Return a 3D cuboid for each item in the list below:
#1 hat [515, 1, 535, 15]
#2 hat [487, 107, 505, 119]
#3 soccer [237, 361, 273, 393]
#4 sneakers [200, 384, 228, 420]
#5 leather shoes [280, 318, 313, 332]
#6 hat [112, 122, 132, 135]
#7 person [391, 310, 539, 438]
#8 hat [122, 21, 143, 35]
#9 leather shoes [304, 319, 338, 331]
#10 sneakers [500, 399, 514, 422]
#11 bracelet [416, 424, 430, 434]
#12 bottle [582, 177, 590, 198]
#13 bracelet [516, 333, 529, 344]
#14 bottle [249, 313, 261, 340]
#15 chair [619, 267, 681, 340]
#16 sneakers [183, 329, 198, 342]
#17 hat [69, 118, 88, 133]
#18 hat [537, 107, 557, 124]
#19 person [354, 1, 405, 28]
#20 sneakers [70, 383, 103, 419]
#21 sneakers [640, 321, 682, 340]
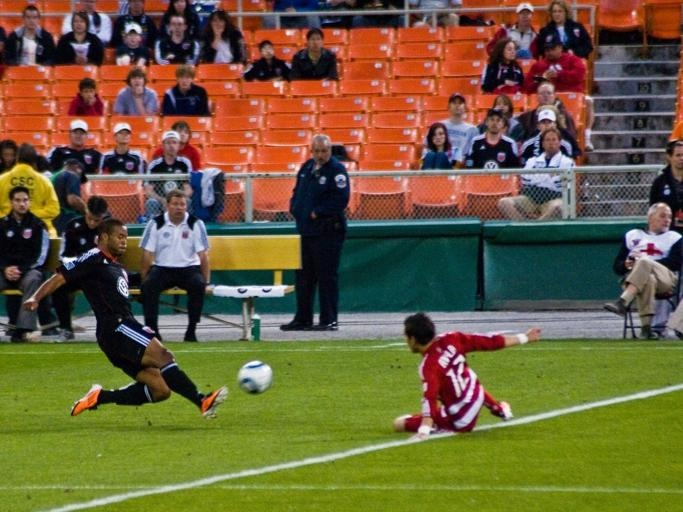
[{"bbox_3d":[2.996,-4.180,25.266,0.285,0.133,0.383,0,0,6],"label":"hat"},{"bbox_3d":[2.216,-2.113,22.238,0.338,0.134,0.482,4,7,8],"label":"hat"},{"bbox_3d":[-0.936,1.267,16.341,0.362,0.314,0.332,3,4,-13],"label":"soccer"},{"bbox_3d":[-1.342,1.518,15.963,0.282,0.357,0.247,0,3,3],"label":"sneakers"},{"bbox_3d":[-0.634,0.918,20.776,0.459,0.174,0.160,3,-1,10],"label":"leather shoes"},{"bbox_3d":[-3.254,-1.923,22.592,0.293,0.186,0.401,0,-1,-18],"label":"hat"},{"bbox_3d":[1.329,1.335,16.784,0.618,0.716,1.106,7,31,43],"label":"person"},{"bbox_3d":[-3.733,-4.080,27.035,0.297,0.158,0.428,-1,8,-8],"label":"hat"},{"bbox_3d":[-0.284,0.916,20.625,0.401,0.129,0.141,4,-3,-3],"label":"leather shoes"},{"bbox_3d":[1.683,1.619,16.062,0.177,0.186,0.095,-14,-13,-28],"label":"sneakers"},{"bbox_3d":[0.818,1.748,15.557,0.104,0.071,0.103,12,20,42],"label":"bracelet"},{"bbox_3d":[3.423,-0.998,21.622,0.139,0.284,0.093,0,4,-5],"label":"bottle"},{"bbox_3d":[1.833,0.845,15.693,0.109,0.038,0.108,24,35,32],"label":"bracelet"},{"bbox_3d":[-1.162,0.927,20.430,0.129,0.326,0.365,0,3,-4],"label":"bottle"},{"bbox_3d":[3.932,0.521,19.802,0.910,1.048,0.433,-1,4,-7],"label":"chair"},{"bbox_3d":[-2.016,1.033,20.207,0.155,0.163,0.172,-3,7,-21],"label":"sneakers"},{"bbox_3d":[-3.808,-1.909,22.132,0.311,0.169,0.456,3,2,-11],"label":"hat"},{"bbox_3d":[2.952,-2.088,22.180,0.259,0.216,0.362,0,3,10],"label":"hat"},{"bbox_3d":[0.666,-4.436,27.979,0.943,0.201,0.594,2,34,2],"label":"person"},{"bbox_3d":[-2.708,1.531,16.331,0.223,0.499,0.181,35,17,-19],"label":"sneakers"},{"bbox_3d":[4.199,0.962,19.961,0.708,0.252,0.202,-5,7,-7],"label":"sneakers"}]
